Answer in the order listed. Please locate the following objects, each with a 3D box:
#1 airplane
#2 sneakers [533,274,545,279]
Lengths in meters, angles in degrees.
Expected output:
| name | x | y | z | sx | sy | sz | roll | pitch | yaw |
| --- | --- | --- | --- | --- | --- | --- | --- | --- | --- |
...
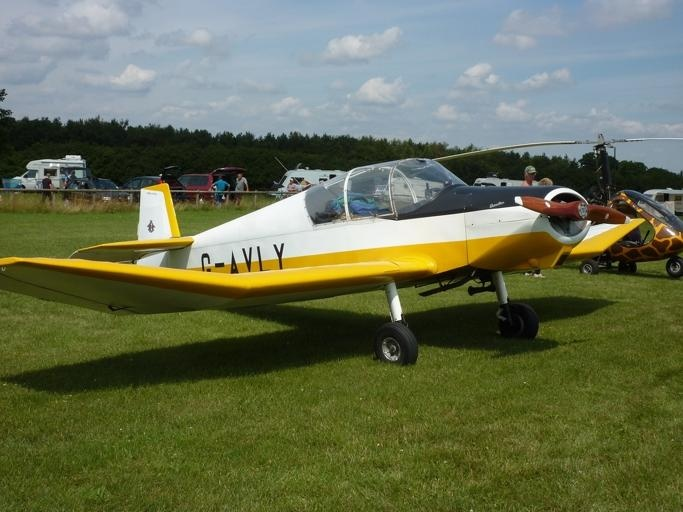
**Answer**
| name | x | y | z | sx | sy | sz | roll | pitch | yaw |
| --- | --- | --- | --- | --- | --- | --- | --- | --- | --- |
| airplane | -0.353 | -0.041 | 7.152 | 5.625 | 2.148 | 2.787 | -4 | 14 | -14 |
| sneakers | 3.837 | 0.388 | 11.718 | 0.161 | 0.045 | 0.151 | 1 | 4 | 37 |
